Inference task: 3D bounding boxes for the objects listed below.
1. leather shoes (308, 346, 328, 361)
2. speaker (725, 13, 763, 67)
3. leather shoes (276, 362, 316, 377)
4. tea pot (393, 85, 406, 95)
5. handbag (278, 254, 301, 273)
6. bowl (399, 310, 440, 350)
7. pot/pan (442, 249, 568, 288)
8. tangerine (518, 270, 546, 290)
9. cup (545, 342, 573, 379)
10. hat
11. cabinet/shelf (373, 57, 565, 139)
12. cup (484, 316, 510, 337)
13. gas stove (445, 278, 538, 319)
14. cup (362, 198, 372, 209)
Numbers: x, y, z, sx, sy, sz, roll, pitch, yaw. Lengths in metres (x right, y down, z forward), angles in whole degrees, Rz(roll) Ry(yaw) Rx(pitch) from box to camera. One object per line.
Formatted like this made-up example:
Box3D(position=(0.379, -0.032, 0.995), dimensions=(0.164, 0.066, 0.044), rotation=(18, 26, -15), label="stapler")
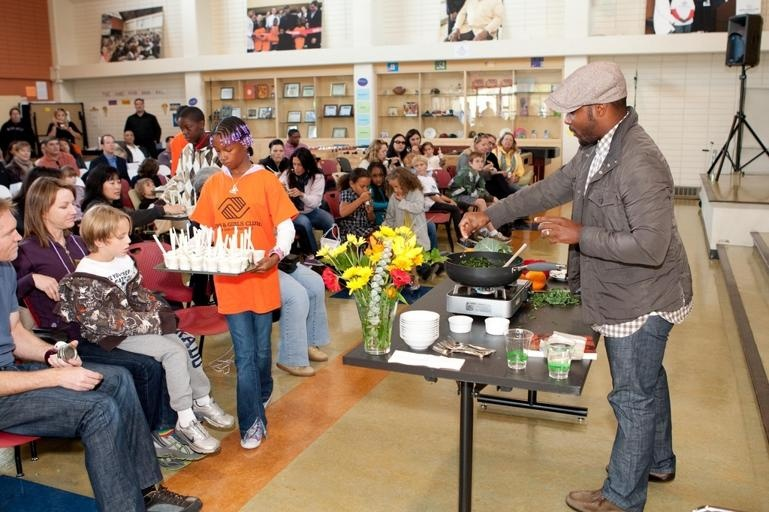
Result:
Box3D(position=(-0.571, 0.855, 4.484), dimensions=(0.210, 0.077, 0.076), rotation=(-1, 2, 41), label="leather shoes")
Box3D(position=(6.298, -3.827, 9.176), dimensions=(0.480, 0.912, 0.481), rotation=(5, 14, 30), label="speaker")
Box3D(position=(-0.724, 0.935, 4.254), dimensions=(0.245, 0.063, 0.125), rotation=(1, 5, 25), label="leather shoes")
Box3D(position=(0.357, -4.137, 12.987), dimensions=(0.222, 0.127, 0.226), rotation=(1, 1, 0), label="tea pot")
Box3D(position=(-0.707, 0.055, 3.787), dimensions=(0.108, 0.051, 0.134), rotation=(-13, 21, -40), label="handbag")
Box3D(position=(0.170, 0.361, 2.616), dimensions=(0.201, 0.132, 0.176), rotation=(-5, 13, -17), label="bowl")
Box3D(position=(0.610, 0.070, 2.930), dimensions=(0.514, 0.135, 0.313), rotation=(6, 8, 28), label="pot/pan")
Box3D(position=(1.026, 0.175, 3.553), dimensions=(0.156, 0.143, 0.141), rotation=(26, -14, -31), label="tangerine")
Box3D(position=(0.778, 0.478, 2.419), dimensions=(0.148, 0.149, 0.140), rotation=(-1, 7, 0), label="cup")
Box3D(position=(0.942, -0.811, 2.490), dimensions=(0.361, 0.169, 0.244), rotation=(-5, 30, 16), label="hat")
Box3D(position=(2.095, -3.787, 12.251), dimensions=(4.619, 1.971, 0.599), rotation=(1, 4, 13), label="cabinet/shelf")
Box3D(position=(0.584, 0.377, 2.760), dimensions=(0.101, 0.040, 0.096), rotation=(-1, 10, 0), label="cup")
Box3D(position=(0.616, 0.231, 3.128), dimensions=(0.408, 0.174, 0.530), rotation=(0, 10, 21), label="gas stove")
Box3D(position=(-0.214, -0.661, 6.569), dimensions=(0.078, 0.092, 0.068), rotation=(-2, 38, 8), label="cup")
